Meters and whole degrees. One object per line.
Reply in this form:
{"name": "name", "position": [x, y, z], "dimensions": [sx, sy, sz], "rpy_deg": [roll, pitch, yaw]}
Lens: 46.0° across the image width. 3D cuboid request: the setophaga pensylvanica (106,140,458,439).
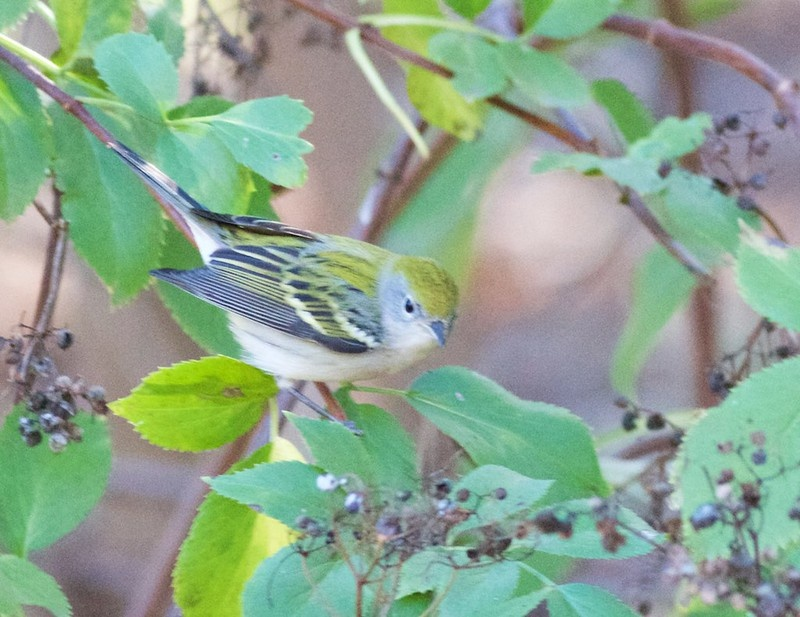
{"name": "setophaga pensylvanica", "position": [-0.153, 0.000, 1.073], "dimensions": [0.447, 0.247, 0.159], "rpy_deg": [17, -39, -17]}
